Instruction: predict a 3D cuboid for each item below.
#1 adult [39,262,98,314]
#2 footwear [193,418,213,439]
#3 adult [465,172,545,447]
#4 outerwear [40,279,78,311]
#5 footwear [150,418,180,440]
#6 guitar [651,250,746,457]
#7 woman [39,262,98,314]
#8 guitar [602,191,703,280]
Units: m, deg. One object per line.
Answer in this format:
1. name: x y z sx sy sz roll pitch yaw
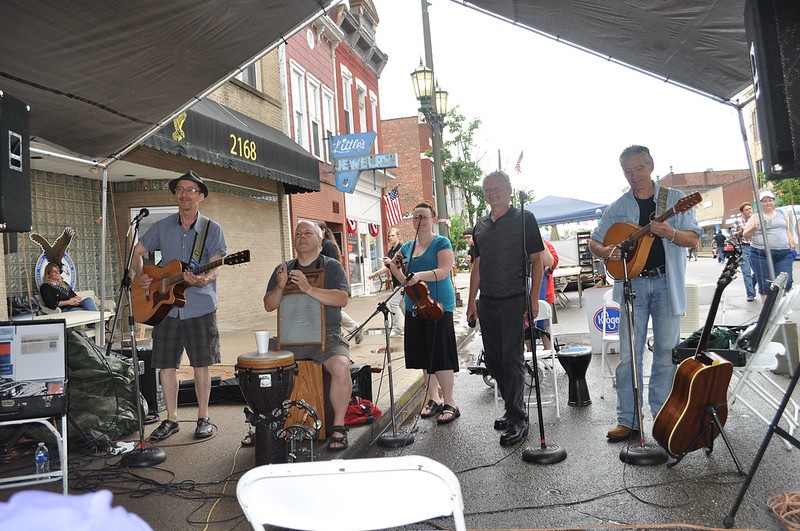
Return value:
1. adult: -5.516 0.437 9.973 1.033 0.760 0.506 14 21 6
2. footwear: -2.122 1.729 6.389 0.188 0.201 0.185 -5 2 -2
3. adult: 1.106 0.384 6.556 0.768 2.875 0.883 0 -3 -32
4. outerwear: -5.736 0.491 9.909 0.261 0.459 0.447 -34 -21 35
5. footwear: -2.533 1.758 6.396 0.122 0.125 0.322 -1 -6 13
6. guitar: 2.663 1.045 5.404 0.681 1.337 0.384 -5 2 9
7. woman: -5.537 0.438 10.005 1.008 0.760 0.501 16 21 -2
8. guitar: 2.470 -0.275 5.946 0.172 0.621 1.220 3 -34 -37
